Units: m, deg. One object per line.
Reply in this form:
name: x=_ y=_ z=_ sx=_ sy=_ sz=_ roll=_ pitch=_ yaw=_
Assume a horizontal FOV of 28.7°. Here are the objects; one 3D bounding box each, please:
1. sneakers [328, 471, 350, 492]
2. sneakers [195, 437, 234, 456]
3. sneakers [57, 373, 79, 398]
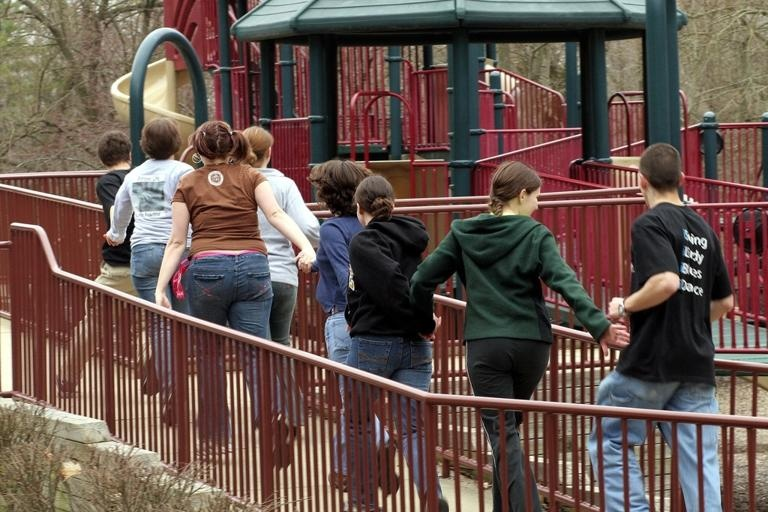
sneakers: x=-0.408 y=2.127 z=14.107 sx=0.206 sy=0.169 sz=0.176 roll=-3 pitch=-2 yaw=35
sneakers: x=-1.625 y=1.875 z=14.698 sx=0.530 sy=0.192 sz=0.191 roll=3 pitch=2 yaw=45
sneakers: x=-3.311 y=1.373 z=15.882 sx=0.249 sy=0.278 sz=0.246 roll=1 pitch=1 yaw=-36
